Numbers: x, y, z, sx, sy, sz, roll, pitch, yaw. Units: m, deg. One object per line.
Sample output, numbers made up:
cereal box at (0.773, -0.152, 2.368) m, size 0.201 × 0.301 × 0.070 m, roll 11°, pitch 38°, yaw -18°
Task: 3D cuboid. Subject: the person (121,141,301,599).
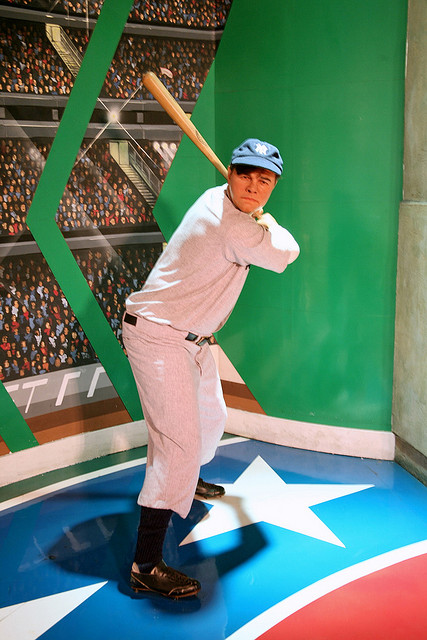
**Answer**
person at (-0.004, 0.161, 1.645) m, size 0.555 × 1.335 × 0.444 m, roll 0°, pitch 6°, yaw 15°
